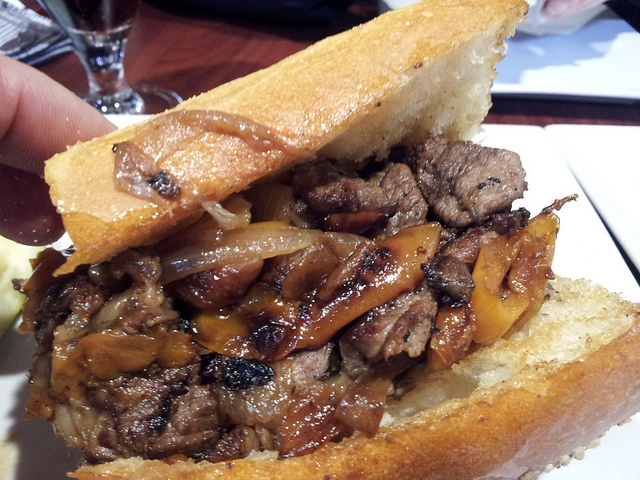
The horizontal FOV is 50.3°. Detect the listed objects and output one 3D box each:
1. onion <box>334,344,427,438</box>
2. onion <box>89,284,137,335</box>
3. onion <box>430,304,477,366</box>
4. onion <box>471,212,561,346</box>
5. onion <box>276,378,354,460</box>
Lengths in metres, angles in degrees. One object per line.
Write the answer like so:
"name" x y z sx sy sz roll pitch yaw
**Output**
"onion" 0.191 0.431 2.139 0.215 0.096 0.319 28 51 10
"onion" -0.619 0.216 2.056 0.186 0.070 0.092 -24 64 -15
"onion" 0.425 0.297 2.185 0.140 0.062 0.186 7 72 10
"onion" 0.632 0.134 2.299 0.233 0.166 0.461 39 82 7
"onion" -0.044 0.537 2.109 0.249 0.075 0.222 -16 62 -12
